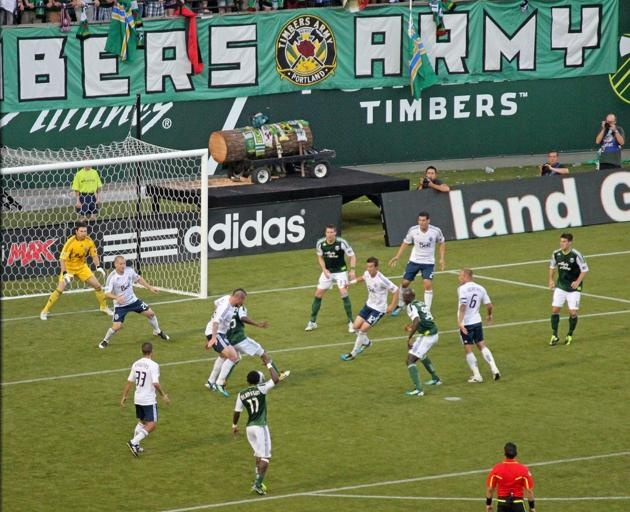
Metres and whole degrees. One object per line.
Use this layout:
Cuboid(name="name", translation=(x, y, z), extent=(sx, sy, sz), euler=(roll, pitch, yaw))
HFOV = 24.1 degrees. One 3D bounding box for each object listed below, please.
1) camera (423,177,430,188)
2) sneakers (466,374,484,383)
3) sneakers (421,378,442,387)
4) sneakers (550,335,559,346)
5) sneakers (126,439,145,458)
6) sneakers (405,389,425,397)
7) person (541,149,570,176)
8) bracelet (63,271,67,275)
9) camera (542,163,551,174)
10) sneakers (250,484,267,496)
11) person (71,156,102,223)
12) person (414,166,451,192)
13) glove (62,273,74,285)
Cuboid(name="camera", translation=(3.009, -1.935, 39.937), extent=(0.238, 0.252, 0.090), euler=(5, 8, 11))
Cuboid(name="sneakers", translation=(3.302, 2.548, 30.492), extent=(0.342, 0.178, 0.127), euler=(3, 12, 27))
Cuboid(name="sneakers", translation=(2.396, 2.629, 30.378), extent=(0.370, 0.175, 0.137), euler=(1, 6, 1))
Cuboid(name="sneakers", translation=(5.239, 1.885, 32.374), extent=(0.222, 0.291, 0.673), euler=(-2, 0, 10))
Cuboid(name="sneakers", translation=(-3.345, 3.640, 27.637), extent=(0.183, 0.448, 0.150), euler=(-23, 32, 3))
Cuboid(name="sneakers", translation=(2.036, 2.814, 29.893), extent=(0.366, 0.164, 0.150), euler=(3, 6, 4))
Cuboid(name="person", translation=(6.837, -2.688, 42.217), extent=(0.748, 0.690, 2.416), euler=(0, 8, 10))
Cuboid(name="bracelet", translation=(-5.643, 0.418, 33.458), extent=(0.107, 0.062, 0.107), euler=(-3, 3, -25))
Cuboid(name="camera", translation=(6.515, -2.404, 41.604), extent=(0.215, 0.320, 0.274), euler=(-3, -2, 10))
Cuboid(name="sneakers", translation=(-0.969, 4.203, 26.501), extent=(0.137, 0.166, 0.293), euler=(3, 13, 11))
Cuboid(name="person", translation=(-6.084, -1.607, 39.694), extent=(0.756, 1.510, 2.093), euler=(-3, 8, -9))
Cuboid(name="person", translation=(3.217, -2.078, 40.232), extent=(0.845, 0.681, 1.293), euler=(-2, 8, -1))
Cuboid(name="glove", translation=(-5.617, 0.548, 33.655), extent=(0.305, 0.440, 0.153), euler=(-1, -1, -9))
